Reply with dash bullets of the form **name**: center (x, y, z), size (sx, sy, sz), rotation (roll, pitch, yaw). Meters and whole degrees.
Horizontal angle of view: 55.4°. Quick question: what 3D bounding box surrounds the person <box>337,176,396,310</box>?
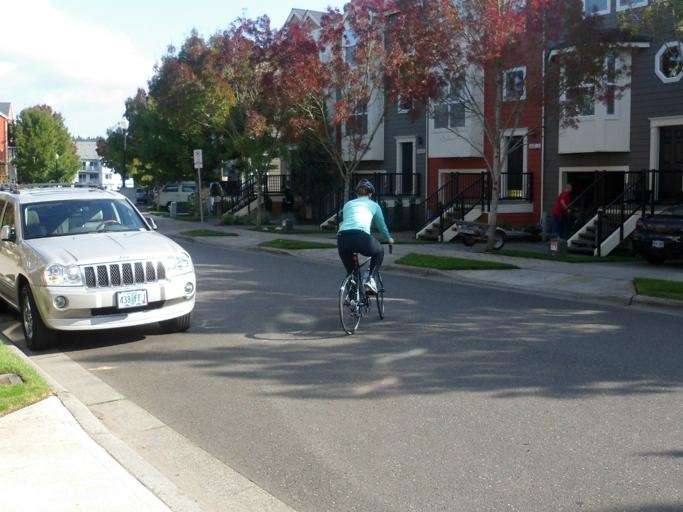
- **person**: center (0.367, -0.285, 10.339), size (0.717, 1.801, 1.057), rotation (2, 7, 26)

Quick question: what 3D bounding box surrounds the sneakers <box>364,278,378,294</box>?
- **sneakers**: center (0.455, 0.472, 10.274), size (0.130, 0.302, 0.302), rotation (3, 7, 29)

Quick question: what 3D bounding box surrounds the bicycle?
- **bicycle**: center (0.266, 0.645, 10.503), size (0.699, 1.048, 1.485), rotation (0, 6, 15)
